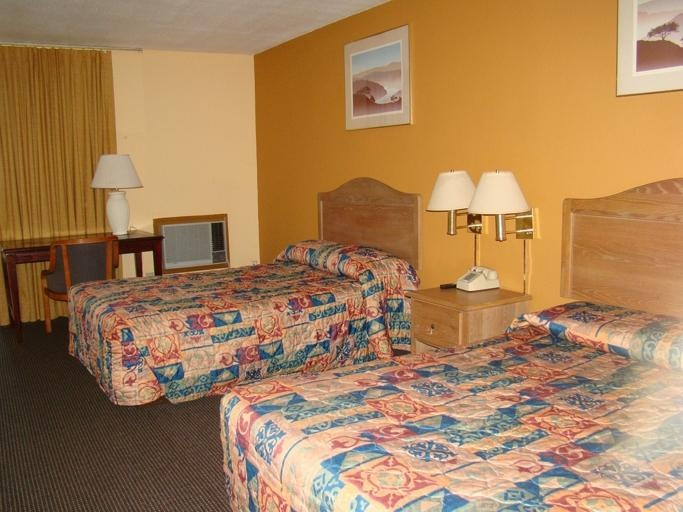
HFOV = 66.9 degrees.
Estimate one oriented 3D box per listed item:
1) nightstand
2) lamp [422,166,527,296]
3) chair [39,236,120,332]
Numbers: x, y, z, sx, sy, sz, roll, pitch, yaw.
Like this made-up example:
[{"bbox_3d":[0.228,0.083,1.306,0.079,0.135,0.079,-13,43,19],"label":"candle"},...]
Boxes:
[{"bbox_3d":[0.943,0.546,3.833,0.714,0.585,0.650,-4,9,-23],"label":"nightstand"},{"bbox_3d":[0.999,-0.164,3.768,0.462,0.801,0.902,-8,10,-27],"label":"lamp"},{"bbox_3d":[-2.433,0.156,4.760,0.694,1.011,0.785,-7,19,-32],"label":"chair"}]
